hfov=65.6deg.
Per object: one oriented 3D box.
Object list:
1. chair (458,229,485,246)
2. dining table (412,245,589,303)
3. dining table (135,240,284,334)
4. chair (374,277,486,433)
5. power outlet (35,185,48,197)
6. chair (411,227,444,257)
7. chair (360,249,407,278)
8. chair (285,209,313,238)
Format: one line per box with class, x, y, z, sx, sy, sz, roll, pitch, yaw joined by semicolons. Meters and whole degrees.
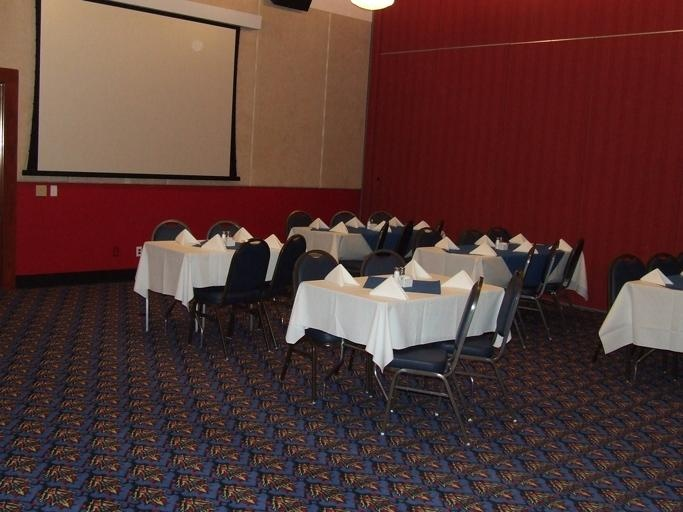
chair;1.897;-0.271;7.747;0.241;0.198;0.285;11;13;38
dining table;1.775;0.121;6.254;1.754;0.518;1.049;12;13;42
dining table;-1.643;0.102;5.589;0.951;0.725;1.095;14;13;43
chair;0.688;0.737;4.553;0.999;1.647;0.848;3;3;15
power outlet;-4.191;-0.909;7.417;0.032;0.159;0.143;5;16;26
chair;1.190;-0.201;7.271;0.360;0.476;0.403;2;-3;-7
chair;0.401;0.073;5.125;0.296;0.418;0.276;-5;9;-24
chair;-0.670;-0.523;8.477;0.417;0.652;0.389;-2;5;-27
